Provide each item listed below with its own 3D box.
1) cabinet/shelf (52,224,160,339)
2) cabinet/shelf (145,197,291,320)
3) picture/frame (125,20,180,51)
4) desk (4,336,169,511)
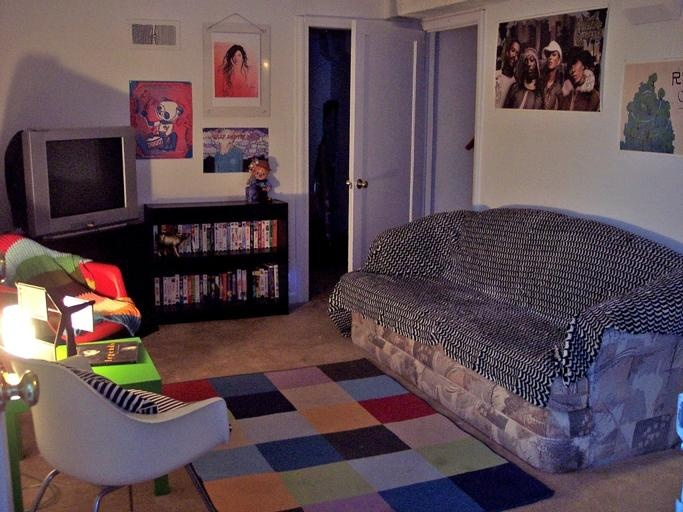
[{"bbox_3d":[-2.050,0.143,4.454,0.805,0.942,0.739,23,24,37],"label":"cabinet/shelf"},{"bbox_3d":[-1.158,0.021,4.819,0.941,0.831,0.314,-6,15,-17],"label":"cabinet/shelf"},{"bbox_3d":[-1.620,-1.938,4.643,0.408,0.217,0.029,-5,14,-19],"label":"picture/frame"},{"bbox_3d":[-1.185,0.680,2.629,0.708,0.553,0.723,-4,15,-21],"label":"desk"}]
